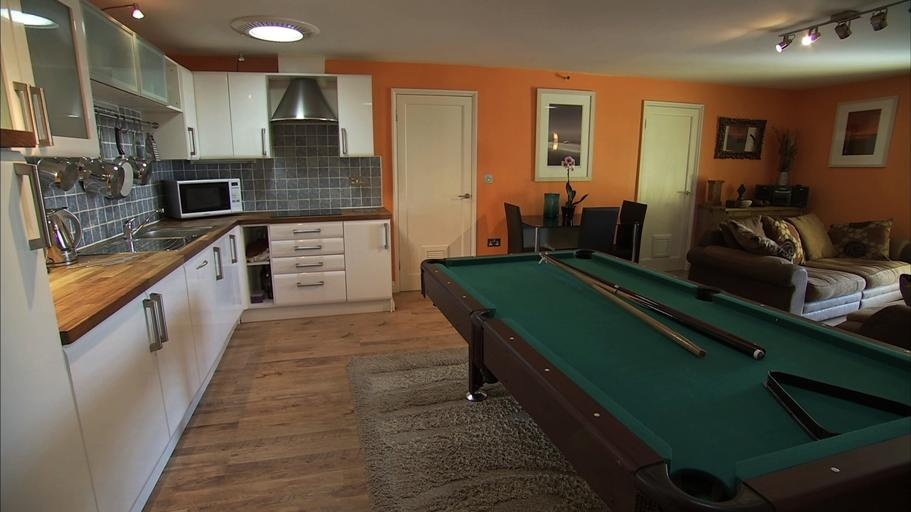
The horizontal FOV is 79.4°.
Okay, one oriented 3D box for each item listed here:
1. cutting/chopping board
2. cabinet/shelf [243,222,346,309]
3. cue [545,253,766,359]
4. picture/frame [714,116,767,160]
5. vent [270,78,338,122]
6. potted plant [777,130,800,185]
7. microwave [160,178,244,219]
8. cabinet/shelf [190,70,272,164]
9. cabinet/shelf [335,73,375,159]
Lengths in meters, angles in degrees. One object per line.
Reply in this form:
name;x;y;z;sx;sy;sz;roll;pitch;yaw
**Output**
cutting/chopping board;-2.381;0.354;3.763;0.548;0.150;0.784;-5;22;-17
cabinet/shelf;-1.562;0.069;6.265;1.244;1.224;0.902;-1;3;-11
cue;1.437;0.363;3.951;0.150;0.122;1.473;-38;44;-26
picture/frame;3.968;-1.688;7.699;0.731;0.468;0.039;-2;10;-11
vent;-1.599;-1.660;5.893;0.563;0.315;0.578;-3;13;-11
potted plant;4.698;-1.415;7.772;0.247;0.769;0.497;4;16;29
microwave;-2.709;-0.561;5.820;0.722;0.407;0.497;-9;13;-44
cabinet/shelf;-2.380;-1.500;5.803;1.085;1.119;0.461;-2;7;-12
cabinet/shelf;-1.085;-1.557;6.055;0.394;0.861;0.099;-6;15;-9
